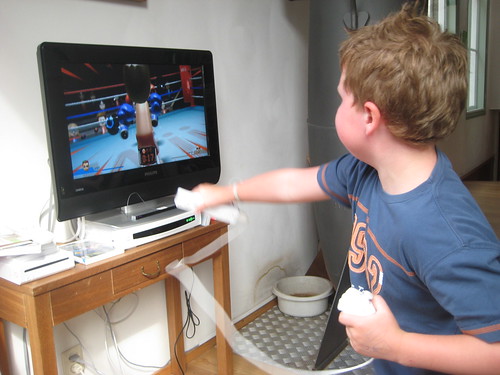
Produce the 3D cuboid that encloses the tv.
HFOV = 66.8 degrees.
[{"bbox_3d":[-0.564,-0.217,1.680,0.087,0.731,0.803,4,11,43],"label":"tv"}]
